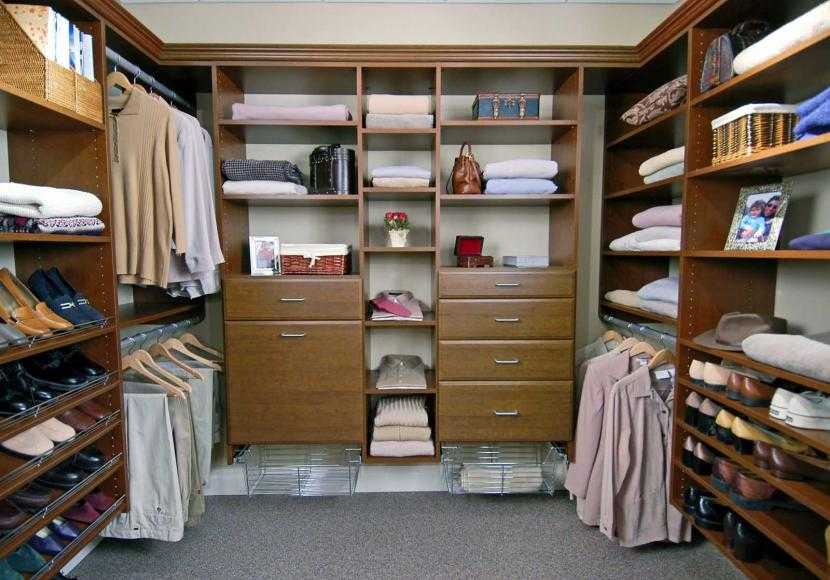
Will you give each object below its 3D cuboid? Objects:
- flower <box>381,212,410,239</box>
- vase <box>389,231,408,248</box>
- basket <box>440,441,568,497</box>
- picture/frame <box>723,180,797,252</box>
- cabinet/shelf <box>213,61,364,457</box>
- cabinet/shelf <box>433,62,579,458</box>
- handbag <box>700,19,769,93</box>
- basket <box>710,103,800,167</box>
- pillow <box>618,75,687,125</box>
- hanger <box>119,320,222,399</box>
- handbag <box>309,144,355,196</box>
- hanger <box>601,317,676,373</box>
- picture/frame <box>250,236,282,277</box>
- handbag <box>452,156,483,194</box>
[{"bbox_3d":[-0.120,-0.393,3.895,0.159,0.149,0.142,-1,-92,-1],"label":"flower"},{"bbox_3d":[-0.098,-0.311,3.879,0.145,0.110,0.114,-1,-88,-3],"label":"vase"},{"bbox_3d":[0.555,1.082,3.947,0.587,0.416,0.216,0,-91,1],"label":"basket"},{"bbox_3d":[1.675,-0.364,3.091,0.034,0.381,0.441,16,-91,-24],"label":"picture/frame"},{"bbox_3d":[-0.685,-0.131,3.910,0.936,0.555,2.152,0,-83,3],"label":"cabinet/shelf"},{"bbox_3d":[0.559,-0.123,3.912,0.923,0.590,2.064,1,-85,11],"label":"cabinet/shelf"},{"bbox_3d":[1.642,-1.158,3.190,0.237,0.395,0.354,9,-66,15],"label":"handbag"},{"bbox_3d":[1.611,-0.732,3.034,0.320,0.318,0.183,-4,-87,-44],"label":"basket"},{"bbox_3d":[1.324,-1.007,3.522,0.104,0.466,0.132,-14,-94,-26],"label":"pillow"},{"bbox_3d":[-1.365,0.390,3.594,0.472,0.421,0.191,2,-85,7],"label":"hanger"},{"bbox_3d":[-0.477,-0.722,3.909,0.304,0.298,0.298,-3,-86,-39],"label":"handbag"},{"bbox_3d":[1.297,0.294,3.796,0.190,0.612,0.207,-1,-89,-15],"label":"hanger"},{"bbox_3d":[-0.879,-0.201,3.791,0.199,0.016,0.238,-1,-85,15],"label":"picture/frame"},{"bbox_3d":[0.311,-0.674,3.955,0.205,0.348,0.314,-1,-84,1],"label":"handbag"}]
